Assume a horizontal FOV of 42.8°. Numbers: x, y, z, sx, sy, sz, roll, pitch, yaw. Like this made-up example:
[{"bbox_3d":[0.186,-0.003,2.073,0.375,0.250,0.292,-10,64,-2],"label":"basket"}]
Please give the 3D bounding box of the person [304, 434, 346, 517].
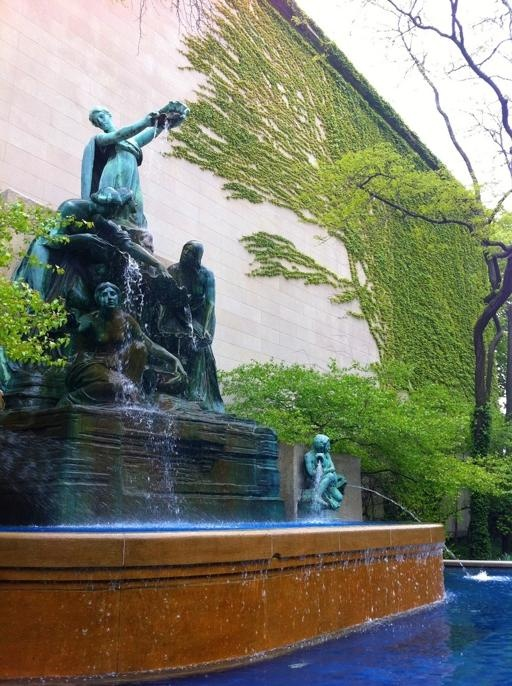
[{"bbox_3d":[0.939,1.871,9.326,0.585,1.112,0.506,0,-9,6],"label":"person"}]
